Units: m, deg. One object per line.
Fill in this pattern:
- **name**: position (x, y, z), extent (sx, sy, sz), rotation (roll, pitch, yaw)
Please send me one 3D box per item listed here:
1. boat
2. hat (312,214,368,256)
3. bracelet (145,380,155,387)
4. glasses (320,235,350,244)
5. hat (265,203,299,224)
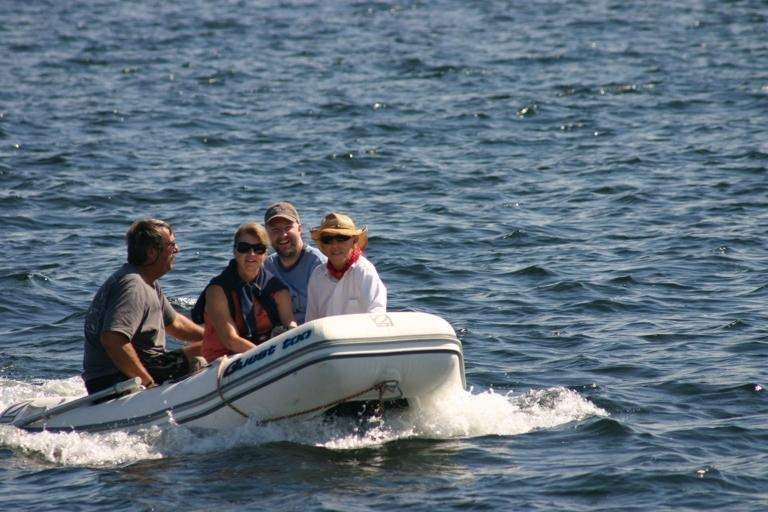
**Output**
- **boat**: position (-2.042, 2.090, 27.386), extent (5.470, 0.733, 2.516), rotation (-10, -8, 18)
- **hat**: position (-0.703, -0.420, 27.731), extent (0.678, 0.578, 0.709), rotation (7, 3, 33)
- **bracelet**: position (-3.777, 2.088, 27.562), extent (0.138, 0.073, 0.114), rotation (0, -9, -7)
- **glasses**: position (-0.751, -0.276, 27.513), extent (0.459, 0.158, 0.094), rotation (4, 4, -5)
- **hat**: position (-1.642, -0.715, 28.084), extent (0.558, 0.367, 0.338), rotation (4, 3, -5)
